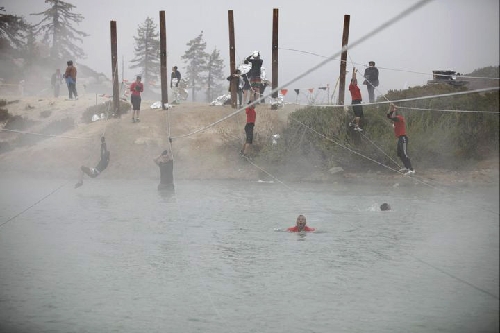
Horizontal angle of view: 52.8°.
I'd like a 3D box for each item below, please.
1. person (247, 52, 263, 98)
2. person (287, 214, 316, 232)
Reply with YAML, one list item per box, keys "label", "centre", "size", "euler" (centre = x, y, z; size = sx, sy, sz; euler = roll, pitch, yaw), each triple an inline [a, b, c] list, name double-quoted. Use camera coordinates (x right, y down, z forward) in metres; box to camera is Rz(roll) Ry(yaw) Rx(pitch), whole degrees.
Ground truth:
- label: "person"
  centre: [0.264, -4.012, 21.968]
  size: [0.676, 1.877, 1.362]
  euler: [1, 13, 0]
- label: "person"
  centre: [1.300, 1.518, 12.869]
  size: [0.990, 0.506, 0.400]
  euler: [0, -23, 3]
